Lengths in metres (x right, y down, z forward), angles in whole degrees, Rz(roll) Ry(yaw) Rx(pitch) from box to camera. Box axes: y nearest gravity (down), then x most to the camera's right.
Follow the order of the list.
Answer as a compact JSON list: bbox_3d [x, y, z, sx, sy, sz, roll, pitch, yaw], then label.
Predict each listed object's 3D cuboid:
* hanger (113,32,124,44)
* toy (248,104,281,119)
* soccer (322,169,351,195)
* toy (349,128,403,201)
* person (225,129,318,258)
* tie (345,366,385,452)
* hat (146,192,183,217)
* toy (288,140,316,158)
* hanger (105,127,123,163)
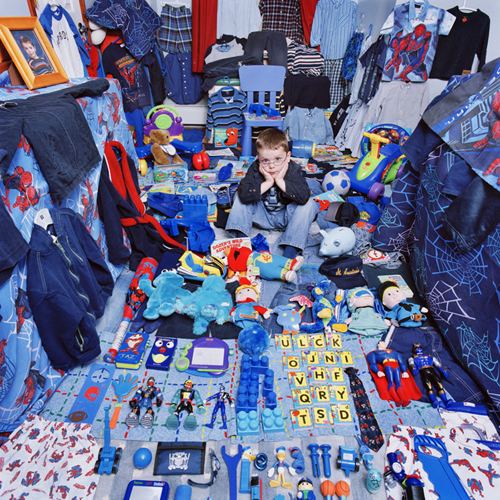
[{"bbox_3d":[-1.253,-2.013,3.437,0.082,0.025,0.082,2,-74,-4],"label":"hanger"},{"bbox_3d":[0.135,-1.354,3.531,0.311,0.162,0.123,4,-45,-17],"label":"toy"},{"bbox_3d":[0.634,-0.501,2.816,0.200,0.194,0.230,12,-1,2],"label":"soccer"},{"bbox_3d":[0.987,-0.686,2.823,0.334,0.618,0.376,20,-28,33],"label":"toy"},{"bbox_3d":[0.127,-0.367,2.242,0.542,0.797,0.642,3,-60,5],"label":"person"},{"bbox_3d":[0.434,0.594,1.372,0.084,0.320,0.105,4,-38,-1],"label":"tie"},{"bbox_3d":[-0.568,-0.308,2.419,0.195,0.174,0.077,4,-50,-7],"label":"hat"},{"bbox_3d":[0.488,-0.945,3.393,0.208,0.135,0.223,-1,2,12],"label":"toy"},{"bbox_3d":[-0.844,-0.684,2.243,0.127,0.179,0.063,2,-5,-9],"label":"hanger"}]
